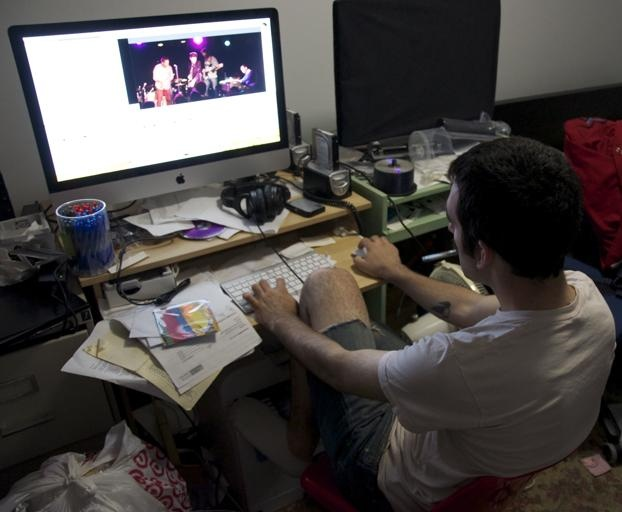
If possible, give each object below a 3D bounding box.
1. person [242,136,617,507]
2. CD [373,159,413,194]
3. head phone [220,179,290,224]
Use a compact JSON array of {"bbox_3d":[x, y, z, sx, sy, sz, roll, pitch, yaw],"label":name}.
[{"bbox_3d":[0.248,0.178,1.070,0.730,0.821,0.380,9,31,28],"label":"person"},{"bbox_3d":[0.281,-0.278,1.657,0.120,0.076,0.119,-27,42,-30],"label":"CD"},{"bbox_3d":[-0.154,-0.172,1.616,0.181,0.110,0.217,-10,-7,22],"label":"head phone"}]
